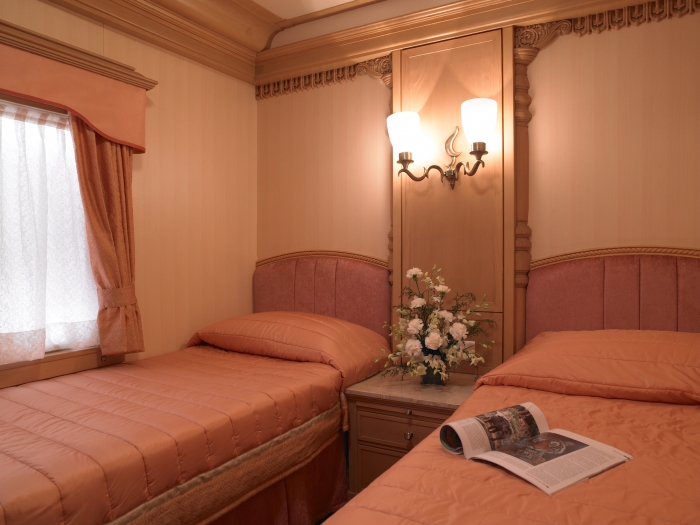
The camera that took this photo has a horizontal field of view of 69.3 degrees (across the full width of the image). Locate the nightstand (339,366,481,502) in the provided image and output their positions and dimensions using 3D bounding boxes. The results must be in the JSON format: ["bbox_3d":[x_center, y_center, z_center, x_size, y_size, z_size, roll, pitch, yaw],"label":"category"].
[{"bbox_3d":[0.285,0.826,3.145,0.874,0.894,0.608,-1,-4,32],"label":"nightstand"}]

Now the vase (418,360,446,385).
[{"bbox_3d":[0.490,0.658,3.018,0.124,0.144,0.137,0,-6,5],"label":"vase"}]

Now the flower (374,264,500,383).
[{"bbox_3d":[0.522,0.369,3.236,0.659,0.694,0.670,1,-2,-40],"label":"flower"}]

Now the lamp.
[{"bbox_3d":[0.581,-0.751,3.283,0.687,0.553,0.249,2,11,22],"label":"lamp"}]
